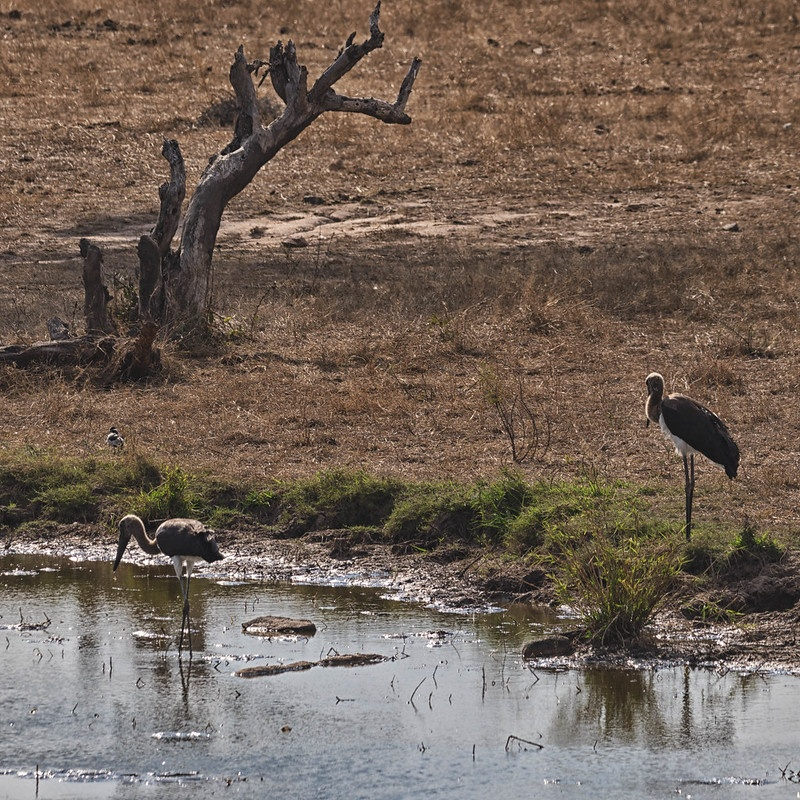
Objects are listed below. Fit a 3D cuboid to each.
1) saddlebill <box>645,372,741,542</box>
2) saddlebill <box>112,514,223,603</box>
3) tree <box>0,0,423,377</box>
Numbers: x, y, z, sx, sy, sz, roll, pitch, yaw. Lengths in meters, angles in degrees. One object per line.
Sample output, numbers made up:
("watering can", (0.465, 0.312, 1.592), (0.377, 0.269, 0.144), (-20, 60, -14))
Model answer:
("saddlebill", (3.365, 0.614, 23.583), (0.915, 1.970, 1.285), (-1, -4, -3))
("saddlebill", (-2.550, 1.768, 22.560), (1.287, 1.107, 0.404), (-8, -5, 17))
("tree", (-2.894, -3.091, 30.253), (6.263, 5.737, 1.613), (1, -5, -40))
